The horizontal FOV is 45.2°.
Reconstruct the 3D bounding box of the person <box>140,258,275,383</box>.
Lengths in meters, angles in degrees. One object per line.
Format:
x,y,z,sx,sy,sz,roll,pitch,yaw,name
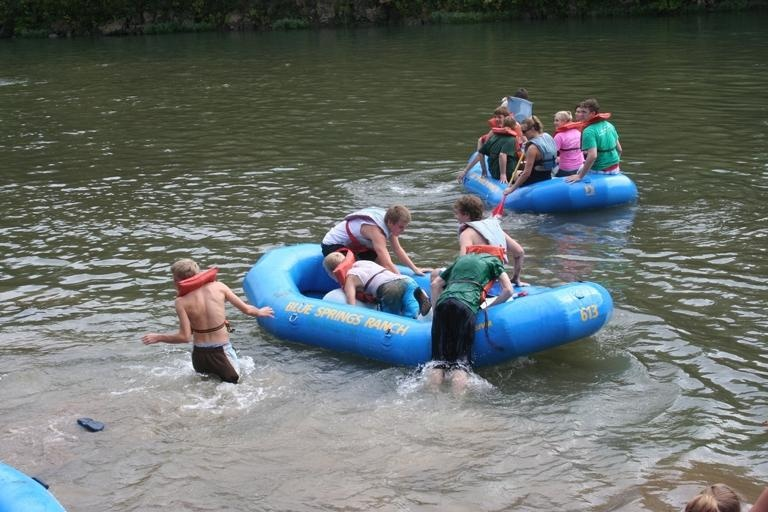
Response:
-2.185,0.782,11.051,0.844,1.470,0.594,1,21,15,person

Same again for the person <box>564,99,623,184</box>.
3.352,-1.840,14.779,0.498,1.278,0.847,15,26,43,person

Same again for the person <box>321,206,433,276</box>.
-0.132,-0.178,12.333,1.511,0.729,0.662,6,10,22,person

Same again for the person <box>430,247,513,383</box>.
1.014,0.737,11.000,1.005,1.435,0.894,-2,19,7,person

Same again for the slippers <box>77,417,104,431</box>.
-3.337,1.895,10.449,0.280,0.057,0.133,12,27,18,slippers

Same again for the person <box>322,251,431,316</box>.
-0.081,0.389,11.909,1.372,0.432,0.760,21,50,13,person

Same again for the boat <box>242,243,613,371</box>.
0.407,0.569,12.169,4.846,0.670,2.320,9,23,36,boat
